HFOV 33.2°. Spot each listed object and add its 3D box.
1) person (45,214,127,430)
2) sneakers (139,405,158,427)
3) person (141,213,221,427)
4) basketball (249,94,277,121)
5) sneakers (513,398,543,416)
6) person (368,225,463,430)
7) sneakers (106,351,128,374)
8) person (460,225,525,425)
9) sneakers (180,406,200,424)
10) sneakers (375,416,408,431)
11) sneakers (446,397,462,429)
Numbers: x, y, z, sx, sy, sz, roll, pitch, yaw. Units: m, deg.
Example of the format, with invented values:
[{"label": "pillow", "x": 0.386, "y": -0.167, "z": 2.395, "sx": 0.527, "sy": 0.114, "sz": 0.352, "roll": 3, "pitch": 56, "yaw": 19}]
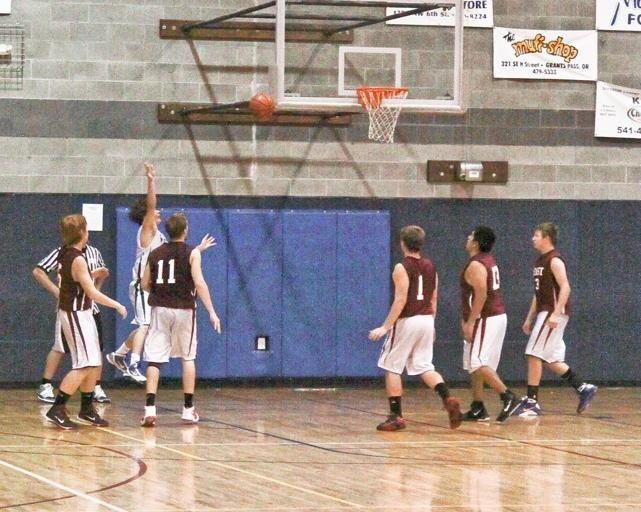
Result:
[{"label": "person", "x": -2.365, "y": 0.640, "z": 10.520, "sx": 0.621, "sy": 2.093, "sz": 0.637, "roll": -1, "pitch": 2, "yaw": -15}, {"label": "sneakers", "x": -1.719, "y": 1.586, "z": 10.764, "sx": 0.102, "sy": 0.191, "sz": 0.271, "roll": 1, "pitch": -1, "yaw": -11}, {"label": "person", "x": -1.436, "y": 0.632, "z": 10.698, "sx": 0.686, "sy": 2.116, "sz": 0.376, "roll": -1, "pitch": 2, "yaw": -8}, {"label": "basketball", "x": -0.678, "y": -1.803, "z": 12.804, "sx": 0.362, "sy": 0.278, "sz": 0.253, "roll": -1, "pitch": 3, "yaw": -23}, {"label": "sneakers", "x": 2.216, "y": 1.593, "z": 11.420, "sx": 0.461, "sy": 0.222, "sz": 0.156, "roll": 1, "pitch": -2, "yaw": -20}, {"label": "person", "x": 0.888, "y": 0.715, "z": 10.555, "sx": 0.693, "sy": 2.010, "sz": 0.483, "roll": 0, "pitch": 2, "yaw": 4}, {"label": "sneakers", "x": -2.416, "y": 1.252, "z": 12.815, "sx": 0.207, "sy": 0.306, "sz": 0.102, "roll": -36, "pitch": 30, "yaw": 8}, {"label": "person", "x": 1.737, "y": 0.704, "z": 11.148, "sx": 0.563, "sy": 2.037, "sz": 0.458, "roll": 0, "pitch": 2, "yaw": 7}, {"label": "sneakers", "x": -1.323, "y": 1.603, "z": 10.895, "sx": 0.093, "sy": 0.126, "sz": 0.265, "roll": 1, "pitch": -1, "yaw": 8}, {"label": "sneakers", "x": 0.696, "y": 1.656, "z": 10.687, "sx": 0.319, "sy": 0.170, "sz": 0.121, "roll": -3, "pitch": -2, "yaw": -2}, {"label": "sneakers", "x": 1.268, "y": 1.486, "z": 10.331, "sx": 0.122, "sy": 0.329, "sz": 0.133, "roll": -17, "pitch": 17, "yaw": -15}]
